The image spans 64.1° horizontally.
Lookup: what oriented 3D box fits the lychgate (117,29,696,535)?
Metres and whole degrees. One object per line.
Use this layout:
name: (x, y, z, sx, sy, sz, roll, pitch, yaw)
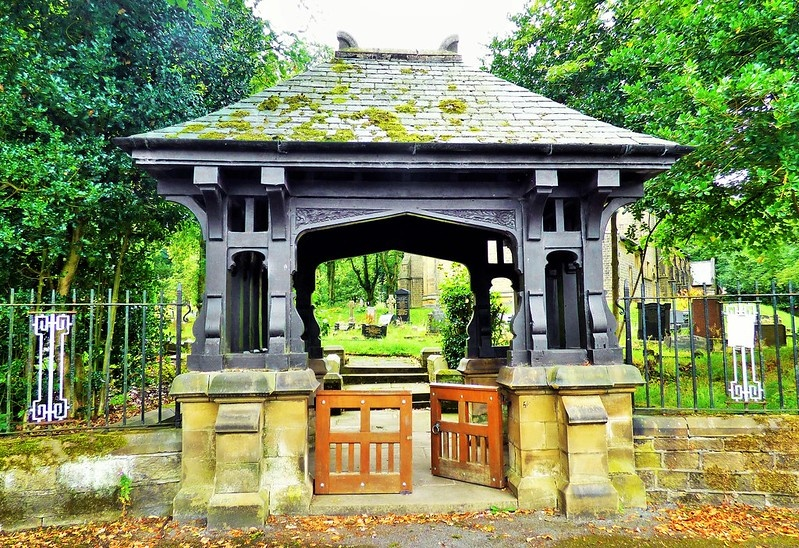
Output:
lychgate: (-0.119, -0.291, 12.608, 9.740, 9.382, 6.975, 0, -6, -4)
